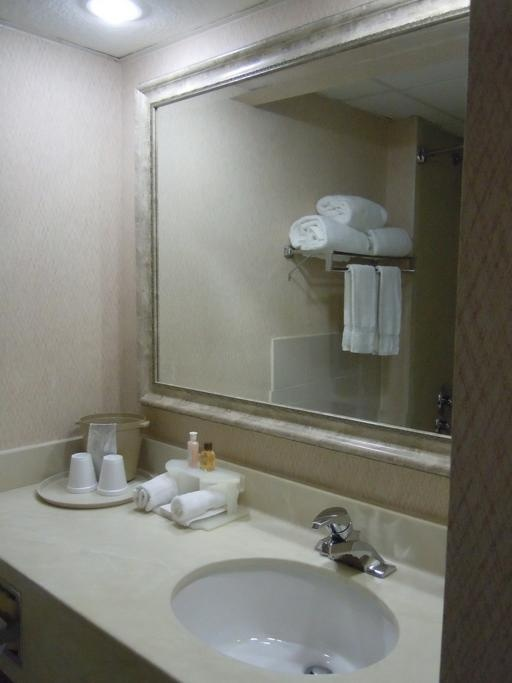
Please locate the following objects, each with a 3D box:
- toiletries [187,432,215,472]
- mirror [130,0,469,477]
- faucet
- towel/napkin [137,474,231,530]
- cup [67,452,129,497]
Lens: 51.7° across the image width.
[{"bbox_3d":[-0.152,0.305,1.452,0.079,0.091,0.030,-3,-5,44],"label":"toiletries"},{"bbox_3d":[0.105,-0.263,1.263,0.046,1.020,1.027,-2,5,-40],"label":"mirror"},{"bbox_3d":[0.224,0.418,1.154,0.256,0.164,0.084,8,-7,-43],"label":"faucet"},{"bbox_3d":[-0.207,0.412,1.388,0.255,0.085,0.133,3,4,40],"label":"towel/napkin"},{"bbox_3d":[-0.456,0.386,1.545,0.156,0.114,0.093,2,-2,7],"label":"cup"}]
